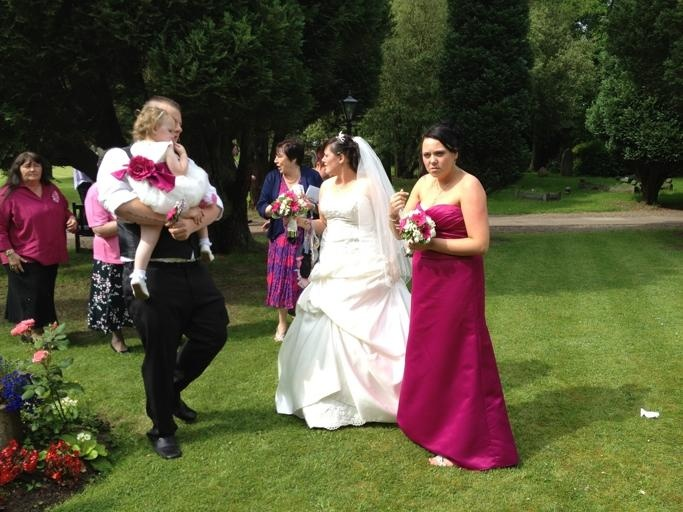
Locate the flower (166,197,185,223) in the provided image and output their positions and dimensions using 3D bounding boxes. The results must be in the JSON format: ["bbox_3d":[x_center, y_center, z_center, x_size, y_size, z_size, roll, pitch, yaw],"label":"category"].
[{"bbox_3d":[-1.423,-0.378,5.044,0.165,0.200,0.082,-11,15,-42],"label":"flower"}]

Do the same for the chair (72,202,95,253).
[{"bbox_3d":[-7.079,-0.904,16.412,0.783,1.076,0.812,7,11,-14],"label":"chair"}]

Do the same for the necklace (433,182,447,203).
[{"bbox_3d":[0.905,-0.595,5.459,0.035,0.183,0.110,17,-21,-38],"label":"necklace"}]

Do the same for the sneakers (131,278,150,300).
[{"bbox_3d":[-1.748,0.299,5.067,0.087,0.229,0.097,-1,52,-4],"label":"sneakers"}]

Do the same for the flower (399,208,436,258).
[{"bbox_3d":[0.686,-0.236,5.350,0.340,0.353,0.347,-29,46,-29],"label":"flower"}]

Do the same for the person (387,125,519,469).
[{"bbox_3d":[0.978,0.345,5.339,0.710,3.008,1.277,-10,14,-39],"label":"person"}]

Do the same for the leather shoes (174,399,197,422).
[{"bbox_3d":[-1.649,1.600,6.027,0.135,0.147,0.341,-5,6,-44],"label":"leather shoes"}]

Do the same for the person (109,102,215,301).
[{"bbox_3d":[-1.581,-0.528,5.197,0.817,1.722,0.524,-5,12,-21],"label":"person"}]

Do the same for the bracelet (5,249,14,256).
[{"bbox_3d":[-4.328,-0.044,7.619,0.114,0.088,0.078,-5,12,-19],"label":"bracelet"}]

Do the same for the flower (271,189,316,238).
[{"bbox_3d":[-0.653,-0.488,7.316,0.492,0.509,0.484,-7,-8,8],"label":"flower"}]

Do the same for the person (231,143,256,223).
[{"bbox_3d":[-2.711,-2.021,15.926,0.616,2.347,0.980,-2,11,-10],"label":"person"}]

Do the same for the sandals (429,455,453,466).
[{"bbox_3d":[0.892,1.861,5.311,0.129,0.057,0.100,2,2,7],"label":"sandals"}]
